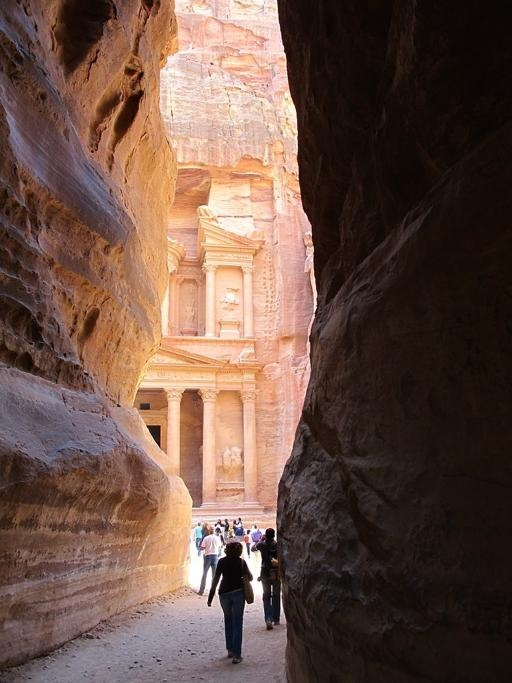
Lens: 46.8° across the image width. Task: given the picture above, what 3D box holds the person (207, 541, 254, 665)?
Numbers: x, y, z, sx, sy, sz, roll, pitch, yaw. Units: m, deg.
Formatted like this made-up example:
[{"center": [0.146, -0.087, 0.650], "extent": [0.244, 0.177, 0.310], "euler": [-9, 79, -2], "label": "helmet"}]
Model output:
[{"center": [-0.225, 2.207, 5.038], "extent": [0.396, 0.959, 0.957], "euler": [-1, -16, -2], "label": "person"}]
